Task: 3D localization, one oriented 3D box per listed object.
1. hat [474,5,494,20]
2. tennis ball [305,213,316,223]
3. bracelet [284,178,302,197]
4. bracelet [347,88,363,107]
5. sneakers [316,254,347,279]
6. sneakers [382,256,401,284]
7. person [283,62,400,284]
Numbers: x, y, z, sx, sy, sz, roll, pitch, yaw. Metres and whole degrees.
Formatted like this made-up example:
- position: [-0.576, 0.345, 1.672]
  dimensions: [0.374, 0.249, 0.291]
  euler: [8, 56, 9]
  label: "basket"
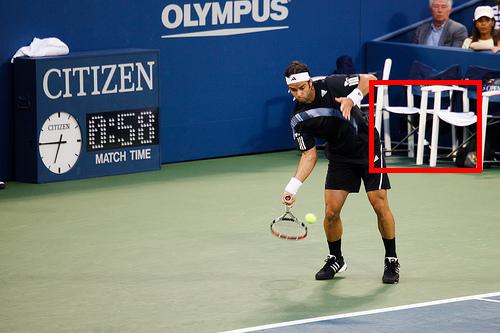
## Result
- position: [4.769, -3.128, 11.831]
  dimensions: [0.340, 0.272, 0.283]
  euler: [4, 15, 19]
  label: "hat"
- position: [0.610, 0.521, 5.796]
  dimensions: [0.105, 0.099, 0.102]
  euler: [0, -1, 0]
  label: "tennis ball"
- position: [0.426, 0.194, 5.936]
  dimensions: [0.170, 0.181, 0.167]
  euler: [24, -12, 19]
  label: "bracelet"
- position: [1.044, -0.693, 5.809]
  dimensions: [0.135, 0.155, 0.349]
  euler: [4, 14, 18]
  label: "bracelet"
- position: [0.868, 1.052, 6.186]
  dimensions: [0.393, 0.177, 0.166]
  euler: [-25, 21, -37]
  label: "sneakers"
- position: [1.453, 1.071, 5.970]
  dimensions: [0.124, 0.132, 0.322]
  euler: [0, 15, 10]
  label: "sneakers"
- position: [0.955, 0.064, 5.977]
  dimensions: [1.201, 2.250, 0.571]
  euler: [0, 14, 4]
  label: "person"
